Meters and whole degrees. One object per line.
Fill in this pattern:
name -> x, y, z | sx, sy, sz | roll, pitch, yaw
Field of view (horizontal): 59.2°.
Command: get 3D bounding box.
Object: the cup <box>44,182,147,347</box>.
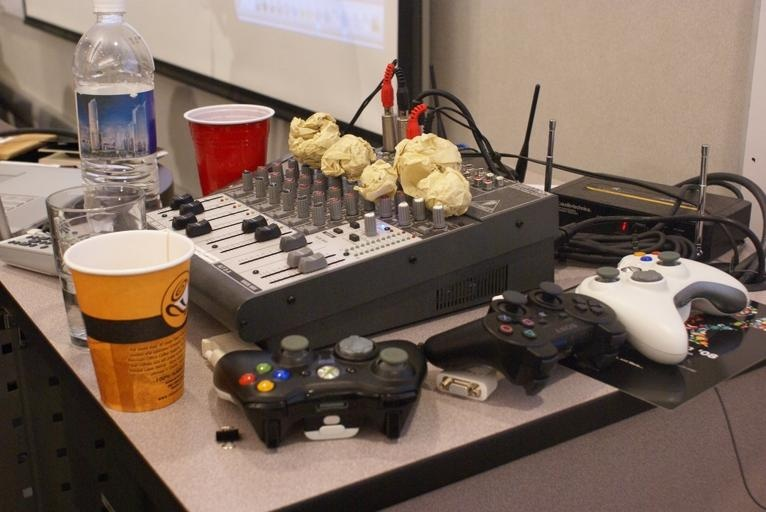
cup -> -0.493, 0.027, 1.244 | 0.191, 0.287, 0.211 | 8, 19, 23

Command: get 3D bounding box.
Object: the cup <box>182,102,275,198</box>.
cup -> -0.396, -0.278, 1.757 | 0.195, 0.206, 0.202 | -1, 27, 0
